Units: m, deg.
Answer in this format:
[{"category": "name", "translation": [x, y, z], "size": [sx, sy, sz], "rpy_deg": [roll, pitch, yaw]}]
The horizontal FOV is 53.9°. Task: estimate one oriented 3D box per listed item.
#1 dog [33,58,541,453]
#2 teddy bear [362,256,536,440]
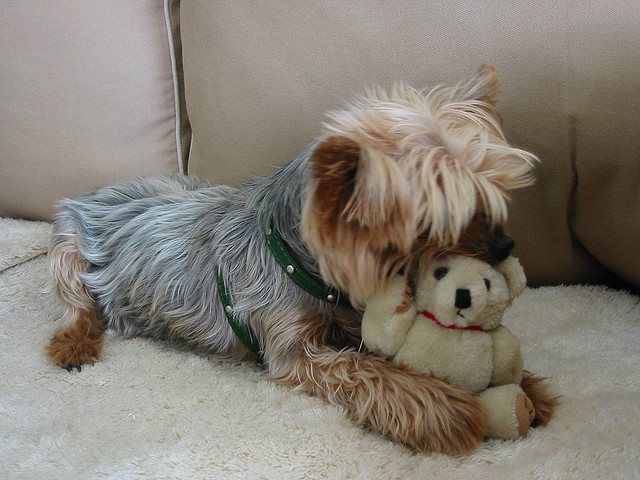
[{"category": "dog", "translation": [-0.133, 0.019, 1.463], "size": [1.096, 0.646, 0.694], "rpy_deg": [6, 11, 30]}, {"category": "teddy bear", "translation": [0.270, 0.175, 1.192], "size": [0.285, 0.353, 0.276], "rpy_deg": [5, 1, 17]}]
